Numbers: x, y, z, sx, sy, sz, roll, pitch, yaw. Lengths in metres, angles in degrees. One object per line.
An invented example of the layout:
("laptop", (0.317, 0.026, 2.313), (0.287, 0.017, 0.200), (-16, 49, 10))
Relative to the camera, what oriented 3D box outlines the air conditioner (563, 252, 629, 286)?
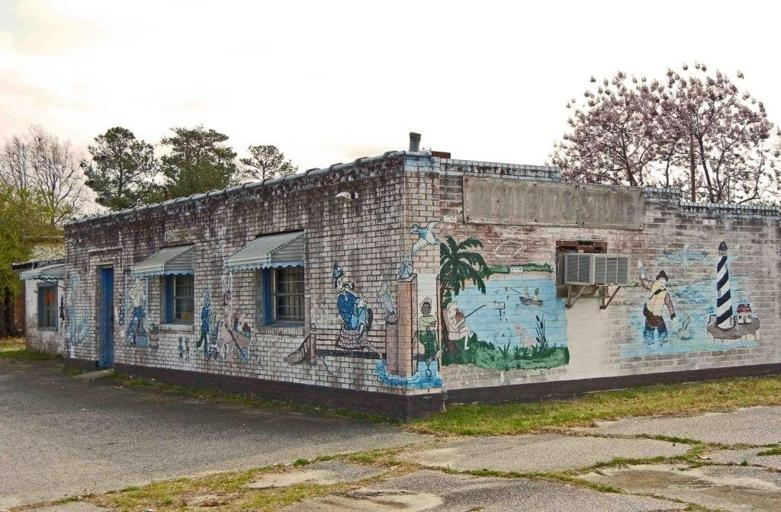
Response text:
("air conditioner", (5.320, 0.358, 27.553), (1.637, 0.890, 0.633), (-1, 9, 7))
